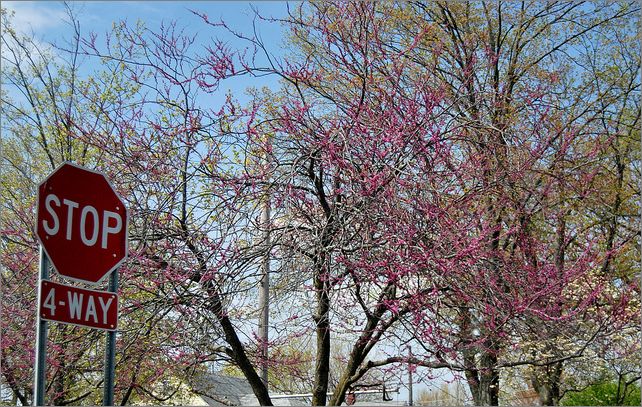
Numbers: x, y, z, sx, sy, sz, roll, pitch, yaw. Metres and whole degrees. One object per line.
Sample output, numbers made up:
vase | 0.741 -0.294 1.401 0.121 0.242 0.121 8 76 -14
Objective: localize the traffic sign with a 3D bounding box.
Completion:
traffic sign | -5.513 2.249 22.416 1.430 0.768 0.093 7 -15 -19
